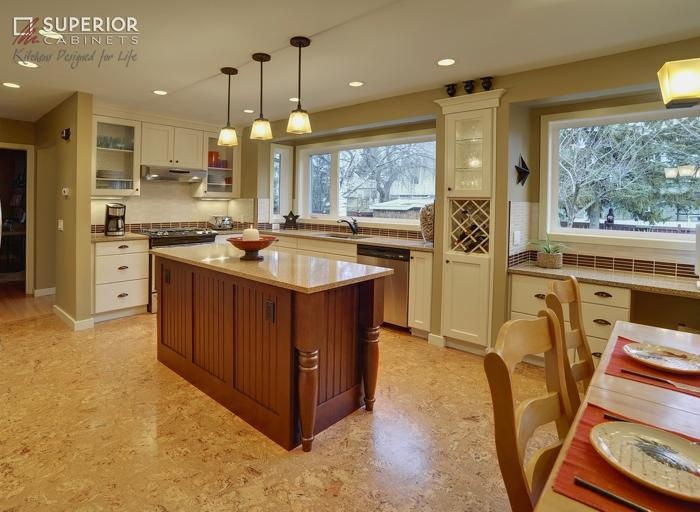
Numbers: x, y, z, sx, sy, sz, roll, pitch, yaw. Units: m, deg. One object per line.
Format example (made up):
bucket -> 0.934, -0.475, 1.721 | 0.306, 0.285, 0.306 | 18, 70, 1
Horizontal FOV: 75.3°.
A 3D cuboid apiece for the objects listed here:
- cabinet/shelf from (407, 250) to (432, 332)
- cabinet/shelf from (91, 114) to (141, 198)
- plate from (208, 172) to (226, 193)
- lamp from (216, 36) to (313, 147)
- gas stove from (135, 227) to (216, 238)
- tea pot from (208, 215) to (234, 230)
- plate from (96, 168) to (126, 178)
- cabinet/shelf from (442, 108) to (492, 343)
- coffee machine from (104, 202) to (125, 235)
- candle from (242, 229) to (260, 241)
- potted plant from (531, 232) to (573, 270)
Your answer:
cabinet/shelf -> 0.756, 0.364, 4.845 | 0.081, 0.834, 0.314 | -9, 14, -43
cabinet/shelf -> -2.916, -1.217, 5.642 | 0.609, 0.960, 0.330 | -6, 12, -35
plate -> -1.945, -1.063, 6.595 | 0.308, 0.276, 0.104 | -8, 14, -41
lamp -> -0.843, -1.626, 4.430 | 0.174, 0.673, 0.910 | 4, -5, -45
gas stove -> -2.315, -0.312, 6.136 | 0.930, 0.069, 0.878 | -6, 12, -34
tea pot -> -1.887, -0.484, 6.756 | 0.268, 0.142, 0.208 | 2, 4, 36
plate -> -2.970, -1.020, 5.582 | 0.182, 0.066, 0.200 | 0, 1, -15
cabinet/shelf -> 1.172, -0.286, 4.504 | 0.647, 2.268, 0.317 | 7, 12, 32
coffee machine -> -2.899, -0.440, 5.551 | 0.238, 0.365, 0.228 | -2, 11, -17
candle -> -0.818, -0.176, 3.735 | 0.111, 0.108, 0.112 | 0, 5, -4
potted plant -> 1.977, -0.050, 4.504 | 0.328, 0.286, 0.327 | -4, 6, -26
